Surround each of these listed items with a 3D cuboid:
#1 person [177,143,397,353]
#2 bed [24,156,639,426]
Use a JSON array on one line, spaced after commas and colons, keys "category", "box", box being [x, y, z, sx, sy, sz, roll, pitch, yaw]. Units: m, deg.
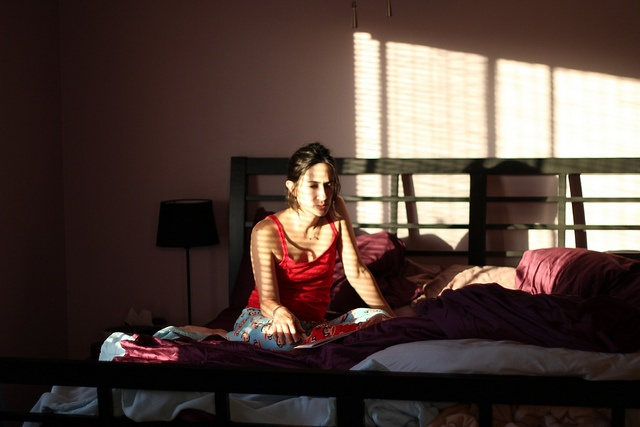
[{"category": "person", "box": [-0.081, 0.191, 3.447, 1.146, 1.121, 0.851, 3, -2, -38]}, {"category": "bed", "box": [0.209, 0.285, 3.697, 3.160, 1.364, 1.776, 0, 0, 3]}]
